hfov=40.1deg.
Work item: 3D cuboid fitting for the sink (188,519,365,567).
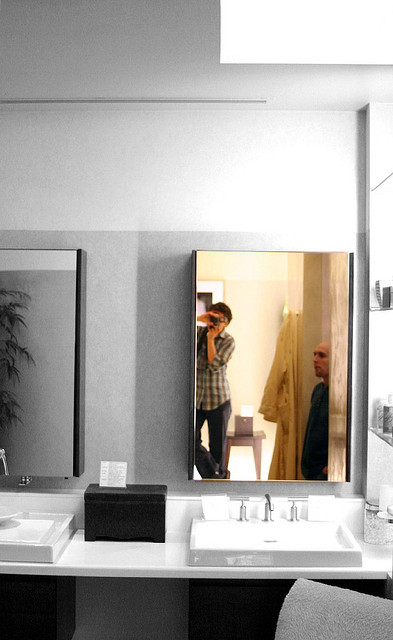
[{"bbox_3d":[0.278,0.776,1.886,0.600,0.140,0.298,-2,0,0],"label":"sink"}]

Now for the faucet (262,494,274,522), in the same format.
[{"bbox_3d":[0.267,0.702,1.997,0.036,0.100,0.081,1,-17,-2],"label":"faucet"}]

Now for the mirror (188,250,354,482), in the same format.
[{"bbox_3d":[0.294,0.185,2.072,0.613,1.213,0.071,1,-1,-4],"label":"mirror"}]

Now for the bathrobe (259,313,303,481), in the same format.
[{"bbox_3d":[0.339,0.313,2.128,0.165,0.739,0.140,-13,19,-38],"label":"bathrobe"}]
